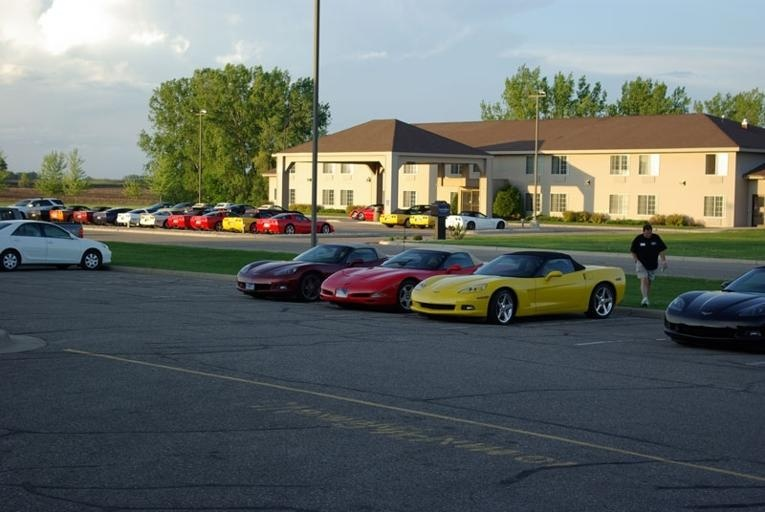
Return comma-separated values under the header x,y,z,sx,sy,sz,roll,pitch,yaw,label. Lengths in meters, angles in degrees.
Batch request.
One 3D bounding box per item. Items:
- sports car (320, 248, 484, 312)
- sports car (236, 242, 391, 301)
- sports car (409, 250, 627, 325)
x,y,z,sx,sy,sz,roll,pitch,yaw,label
0.462,0.505,19.808,2.942,0.833,1.744,1,-2,-40,sports car
-1.706,0.367,21.515,3.476,0.976,1.661,1,-1,-40,sports car
3.036,0.664,18.321,4.725,1.497,1.380,-1,6,-26,sports car
